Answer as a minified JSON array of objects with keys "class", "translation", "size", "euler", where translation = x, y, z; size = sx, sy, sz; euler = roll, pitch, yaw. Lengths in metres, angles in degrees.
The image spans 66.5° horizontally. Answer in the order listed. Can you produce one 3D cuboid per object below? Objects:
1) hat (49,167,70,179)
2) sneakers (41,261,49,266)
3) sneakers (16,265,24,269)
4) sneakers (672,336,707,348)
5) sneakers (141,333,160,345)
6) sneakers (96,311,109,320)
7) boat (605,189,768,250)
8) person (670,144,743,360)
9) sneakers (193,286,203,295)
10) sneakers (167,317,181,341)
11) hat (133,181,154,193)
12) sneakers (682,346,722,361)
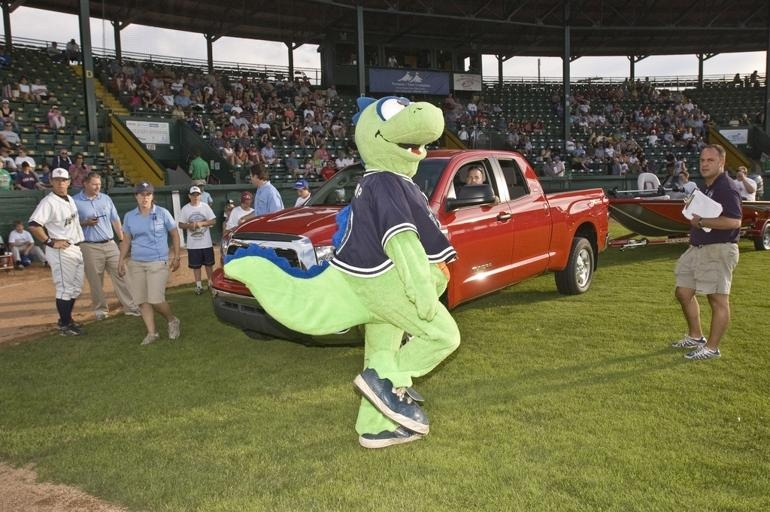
[{"class":"hat","translation":[-5.054,-1.270,9.100],"size":[0.244,0.123,0.351],"euler":[-2,9,-31]},{"class":"sneakers","translation":[-7.878,0.179,13.557],"size":[0.143,0.137,0.116],"euler":[-16,13,23]},{"class":"sneakers","translation":[-8.509,0.259,13.627],"size":[0.141,0.114,0.087],"euler":[-13,16,-43]},{"class":"sneakers","translation":[3.964,1.107,7.691],"size":[0.435,0.191,0.168],"euler":[0,1,7]},{"class":"sneakers","translation":[-3.355,1.190,8.400],"size":[0.107,0.111,0.257],"euler":[-6,7,42]},{"class":"sneakers","translation":[-4.617,0.974,9.532],"size":[0.110,0.123,0.277],"euler":[-1,-4,-31]},{"class":"boat","translation":[6.586,-0.818,13.154],"size":[3.485,1.117,1.632],"euler":[1,-1,-25]},{"class":"person","translation":[4.036,-0.042,7.353],"size":[0.672,2.598,0.710],"euler":[4,13,30]},{"class":"sneakers","translation":[-3.523,0.661,11.054],"size":[0.086,0.117,0.263],"euler":[-1,-5,-8]},{"class":"sneakers","translation":[-3.092,1.067,8.534],"size":[0.132,0.396,0.170],"euler":[-1,-6,16]},{"class":"hat","translation":[-3.527,-1.011,8.535],"size":[0.246,0.178,0.340],"euler":[1,-3,-33]},{"class":"sneakers","translation":[3.993,1.228,7.349],"size":[0.472,0.206,0.177],"euler":[0,-4,1]}]
